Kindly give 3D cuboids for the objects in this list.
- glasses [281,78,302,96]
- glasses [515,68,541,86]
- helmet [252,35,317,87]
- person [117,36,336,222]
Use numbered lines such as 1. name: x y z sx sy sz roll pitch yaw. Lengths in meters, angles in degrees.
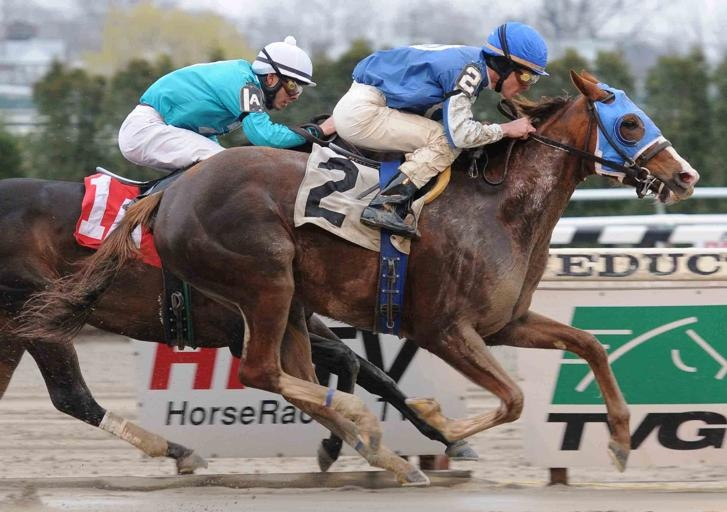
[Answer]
1. glasses: -0.502 -1.183 9.337 0.144 0.070 0.103 24 -1 36
2. glasses: 1.109 -1.215 9.033 0.124 0.051 0.126 -3 33 -24
3. helmet: -0.541 -1.384 9.394 0.469 0.213 0.286 8 5 10
4. person: -0.860 -1.001 9.555 1.775 0.909 0.907 1 22 21
